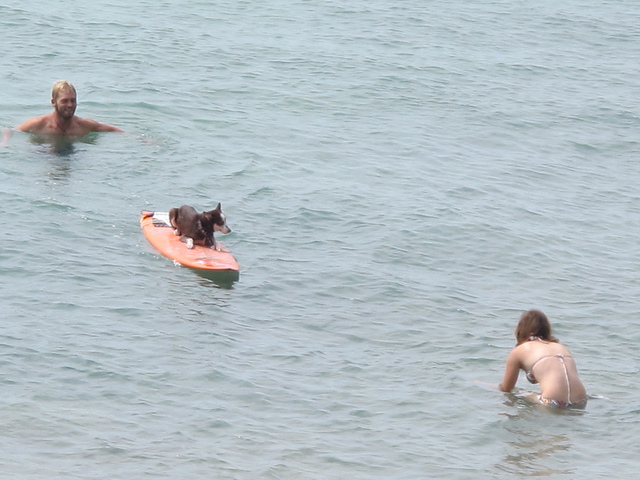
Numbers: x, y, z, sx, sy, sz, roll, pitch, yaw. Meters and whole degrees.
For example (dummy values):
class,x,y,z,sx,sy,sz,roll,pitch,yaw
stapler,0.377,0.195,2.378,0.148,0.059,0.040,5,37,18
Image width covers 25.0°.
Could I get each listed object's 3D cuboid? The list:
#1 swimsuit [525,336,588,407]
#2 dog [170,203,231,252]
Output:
class,x,y,z,sx,sy,sz,roll,pitch,yaw
swimsuit,4.632,2.677,27.499,0.923,0.789,1.013,-14,50,-18
dog,-2.595,-0.306,30.722,0.780,0.580,1.816,-6,16,-42
